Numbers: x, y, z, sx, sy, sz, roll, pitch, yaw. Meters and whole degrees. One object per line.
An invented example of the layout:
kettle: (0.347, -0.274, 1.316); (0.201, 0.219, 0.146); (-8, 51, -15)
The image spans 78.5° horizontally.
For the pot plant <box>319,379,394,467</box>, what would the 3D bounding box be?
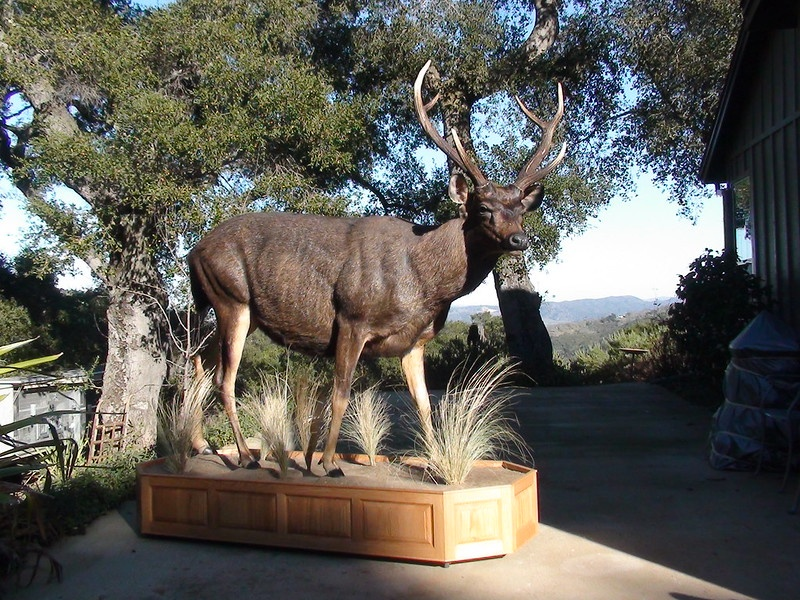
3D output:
pot plant: (-0.311, 1.279, 4.948); (0.437, 0.681, 0.460); (-3, -11, 28)
